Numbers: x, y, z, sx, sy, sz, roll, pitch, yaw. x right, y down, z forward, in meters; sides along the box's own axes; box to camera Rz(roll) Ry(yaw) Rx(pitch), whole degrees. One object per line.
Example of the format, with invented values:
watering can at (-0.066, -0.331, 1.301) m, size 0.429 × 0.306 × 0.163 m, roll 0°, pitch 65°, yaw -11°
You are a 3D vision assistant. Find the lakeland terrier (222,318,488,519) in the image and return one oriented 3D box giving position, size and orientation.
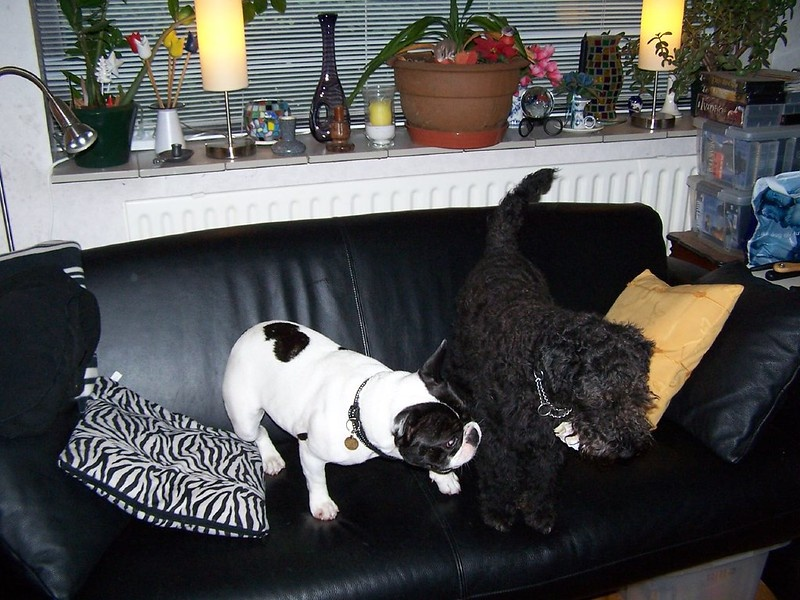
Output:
lakeland terrier at (-0.195, 0.327, 1.947) m, size 0.796 × 0.539 × 0.427 m, roll 24°, pitch 42°, yaw 14°

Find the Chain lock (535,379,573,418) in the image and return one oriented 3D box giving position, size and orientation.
Chain lock at (0.402, 0.273, 1.743) m, size 0.028 × 0.070 × 0.116 m, roll -10°, pitch 0°, yaw -27°

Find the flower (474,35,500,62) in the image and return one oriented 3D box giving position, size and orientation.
flower at (0.357, -1.039, 2.679) m, size 0.109 × 0.096 × 0.071 m, roll 6°, pitch 23°, yaw 16°

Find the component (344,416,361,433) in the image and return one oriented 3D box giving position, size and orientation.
component at (-0.132, 0.346, 1.788) m, size 0.040 × 0.040 × 0.016 m, roll 3°, pitch 22°, yaw 10°

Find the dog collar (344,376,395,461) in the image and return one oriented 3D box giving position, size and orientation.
dog collar at (-0.103, 0.330, 1.812) m, size 0.106 × 0.217 × 0.118 m, roll -2°, pitch 22°, yaw -2°

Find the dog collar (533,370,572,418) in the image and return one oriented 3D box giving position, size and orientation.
dog collar at (0.407, 0.261, 1.737) m, size 0.083 × 0.136 × 0.033 m, roll -9°, pitch 9°, yaw 32°

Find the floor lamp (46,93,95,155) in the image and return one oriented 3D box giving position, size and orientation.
floor lamp at (-1.023, -0.539, 2.003) m, size 0.165 × 0.181 × 0.079 m, roll 17°, pitch 28°, yaw 38°

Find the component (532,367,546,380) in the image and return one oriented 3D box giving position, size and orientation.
component at (0.371, 0.193, 1.725) m, size 0.006 × 0.025 × 0.026 m, roll -13°, pitch 53°, yaw -16°

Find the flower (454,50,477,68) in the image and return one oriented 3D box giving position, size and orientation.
flower at (0.267, -0.986, 2.628) m, size 0.090 × 0.044 × 0.078 m, roll 1°, pitch 22°, yaw 4°

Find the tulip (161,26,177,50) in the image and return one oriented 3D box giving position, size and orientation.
tulip at (-0.912, -1.024, 2.550) m, size 0.053 × 0.077 × 0.070 m, roll -2°, pitch 22°, yaw -3°

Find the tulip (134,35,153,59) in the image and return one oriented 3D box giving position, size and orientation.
tulip at (-1.002, -0.987, 2.537) m, size 0.057 × 0.080 × 0.082 m, roll 6°, pitch 23°, yaw 16°
